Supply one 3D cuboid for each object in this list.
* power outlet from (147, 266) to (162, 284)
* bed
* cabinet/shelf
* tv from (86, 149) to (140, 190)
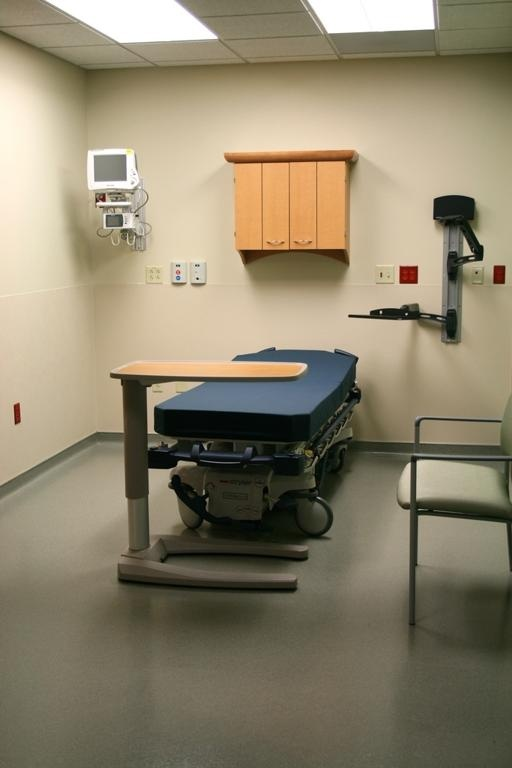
[{"bbox_3d":[-0.771,-0.835,4.466,0.121,0.133,0.041,1,5,6],"label":"power outlet"},{"bbox_3d":[0.041,0.242,2.980,0.644,0.571,1.290,0,9,14],"label":"bed"},{"bbox_3d":[0.217,-1.220,3.924,0.832,0.624,0.157,0,3,5],"label":"cabinet/shelf"},{"bbox_3d":[-0.996,-1.484,4.121,0.407,0.331,0.246,0,5,1],"label":"tv"}]
